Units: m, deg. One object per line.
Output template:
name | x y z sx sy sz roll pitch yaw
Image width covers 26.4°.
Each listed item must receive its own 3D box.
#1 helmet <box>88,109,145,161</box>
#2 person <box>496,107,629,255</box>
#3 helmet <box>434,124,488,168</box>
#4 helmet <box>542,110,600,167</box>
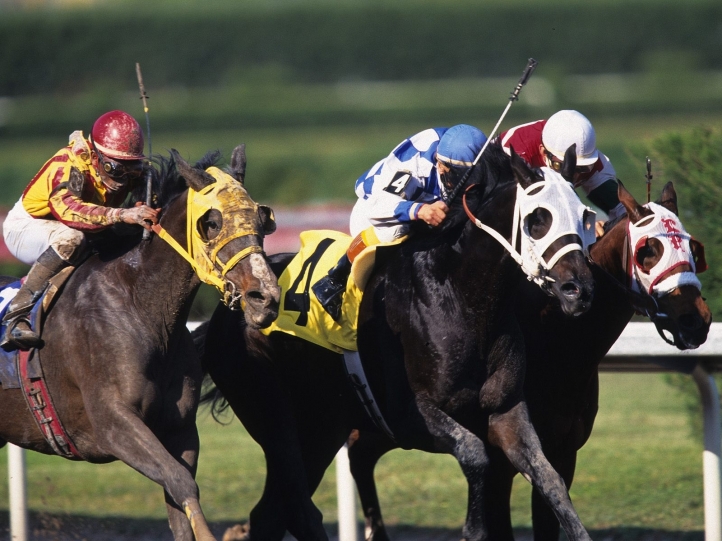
helmet | -1.285 -0.740 8.127 0.285 0.219 0.376 -7 28 -39
person | 1.159 -0.581 8.509 0.505 0.382 0.772 -15 45 -22
helmet | 0.517 -0.656 8.069 0.278 0.197 0.214 3 12 15
helmet | 1.130 -0.742 8.379 0.252 0.187 0.322 -20 59 -28
